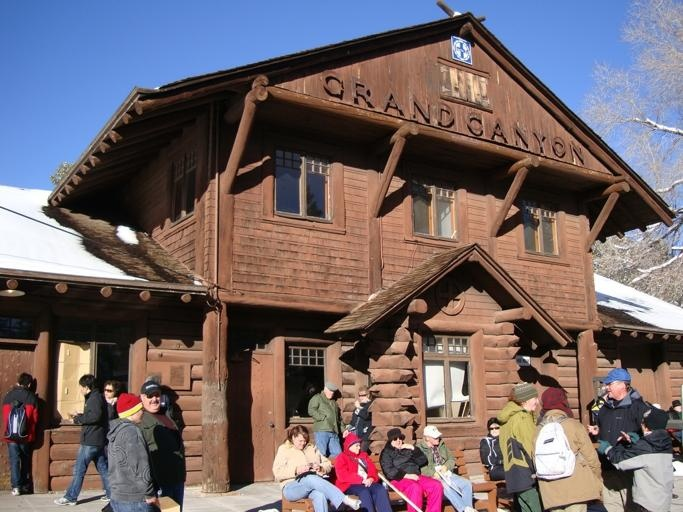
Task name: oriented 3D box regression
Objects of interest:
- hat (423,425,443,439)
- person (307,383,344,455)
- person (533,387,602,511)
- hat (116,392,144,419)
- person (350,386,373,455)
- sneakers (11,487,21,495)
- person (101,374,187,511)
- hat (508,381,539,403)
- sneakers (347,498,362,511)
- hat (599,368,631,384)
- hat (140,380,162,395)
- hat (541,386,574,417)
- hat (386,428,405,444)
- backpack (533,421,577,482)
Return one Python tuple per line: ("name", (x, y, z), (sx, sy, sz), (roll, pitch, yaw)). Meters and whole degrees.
("hat", (1.510, 2.928, 11.127), (0.224, 0.163, 0.297), (2, -4, -42))
("person", (-0.263, 3.287, 12.995), (0.626, 1.712, 0.492), (-2, 8, -6))
("person", (2.881, 2.353, 8.439), (0.826, 1.509, 0.430), (-19, -19, 32))
("hat", (-2.573, 1.780, 8.046), (0.277, 0.265, 0.282), (-2, 8, 11))
("person", (0.463, 3.445, 13.331), (0.477, 1.600, 0.460), (-2, 1, -6))
("sneakers", (-5.740, 4.170, 11.779), (0.078, 0.097, 0.214), (8, -13, -31))
("person", (-2.317, 2.404, 8.664), (0.495, 1.671, 1.035), (-7, -18, 14))
("hat", (2.574, 1.913, 9.480), (0.351, 0.329, 0.278), (-9, -1, 12))
("sneakers", (0.177, 3.613, 9.653), (0.149, 0.074, 0.194), (6, -5, -35))
("hat", (3.901, 1.722, 9.506), (0.397, 0.220, 0.293), (1, -15, 2))
("hat", (-2.454, 1.699, 8.585), (0.222, 0.212, 0.253), (2, -18, -15))
("hat", (2.852, 1.901, 8.841), (0.452, 0.468, 0.420), (1, -9, -7))
("hat", (0.865, 2.904, 10.813), (0.270, 0.155, 0.239), (-17, -12, 14))
("backpack", (2.647, 2.435, 8.267), (0.356, 0.650, 0.454), (29, -39, -33))
